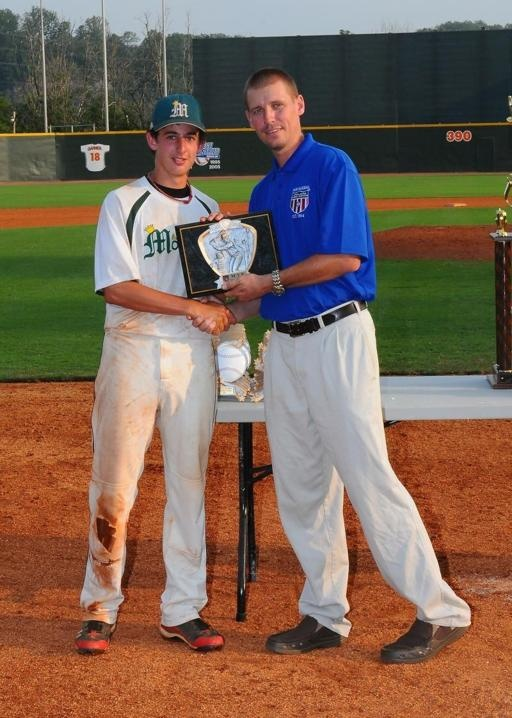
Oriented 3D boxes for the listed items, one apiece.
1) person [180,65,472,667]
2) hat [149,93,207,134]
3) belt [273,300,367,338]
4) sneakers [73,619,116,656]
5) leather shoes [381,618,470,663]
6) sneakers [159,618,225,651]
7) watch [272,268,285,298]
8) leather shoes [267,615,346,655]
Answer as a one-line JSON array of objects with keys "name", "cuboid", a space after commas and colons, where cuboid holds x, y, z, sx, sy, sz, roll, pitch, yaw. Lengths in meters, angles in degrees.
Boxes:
[{"name": "person", "cuboid": [0.244, 0.015, 3.175, 0.577, 1.989, 0.849, -11, 17, -29]}, {"name": "hat", "cuboid": [-0.276, -0.862, 3.213, 0.145, 0.087, 0.174, 1, 14, -4]}, {"name": "belt", "cuboid": [0.215, -0.138, 3.146, 0.315, 0.124, 0.160, -1, 13, 2]}, {"name": "sneakers", "cuboid": [-0.570, 0.978, 3.248, 0.110, 0.082, 0.121, -2, 13, -3]}, {"name": "leather shoes", "cuboid": [0.557, 0.941, 3.174, 0.316, 0.105, 0.114, -15, 13, -26]}, {"name": "sneakers", "cuboid": [-0.215, 0.965, 3.292, 0.247, 0.083, 0.090, 1, 9, 36]}, {"name": "watch", "cuboid": [0.072, -0.254, 3.107, 0.057, 0.075, 0.073, -4, 23, 2]}, {"name": "leather shoes", "cuboid": [0.174, 0.979, 3.259, 0.243, 0.086, 0.101, 1, -2, -15]}]
